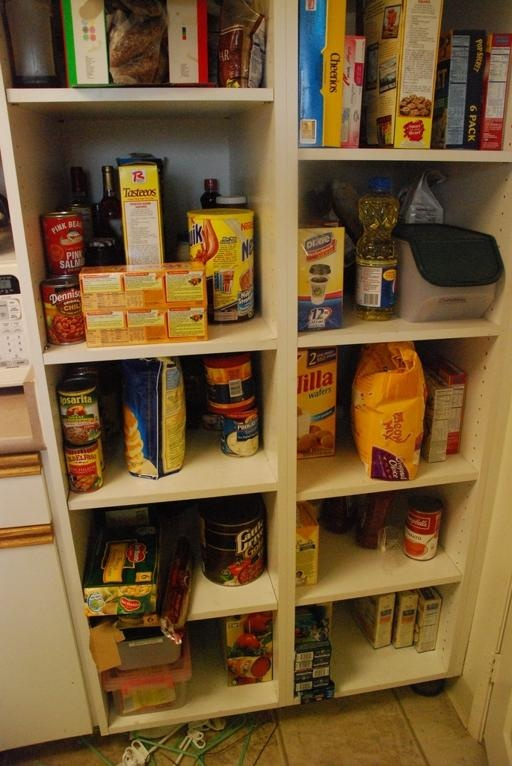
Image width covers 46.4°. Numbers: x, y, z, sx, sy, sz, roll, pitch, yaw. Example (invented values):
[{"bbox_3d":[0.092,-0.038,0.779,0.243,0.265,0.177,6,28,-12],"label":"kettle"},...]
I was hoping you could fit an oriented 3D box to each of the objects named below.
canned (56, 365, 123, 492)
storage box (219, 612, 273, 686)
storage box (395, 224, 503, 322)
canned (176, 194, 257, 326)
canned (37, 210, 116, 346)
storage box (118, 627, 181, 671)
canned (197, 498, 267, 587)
[{"bbox_3d":[-0.329,0.098,1.185,0.113,0.287,0.119,7,27,6],"label":"canned"},{"bbox_3d":[-0.016,0.612,1.377,0.101,0.196,0.195,0,16,-2],"label":"storage box"},{"bbox_3d":[0.374,-0.230,1.227,0.154,0.144,0.201,-4,28,-10],"label":"storage box"},{"bbox_3d":[-0.059,-0.220,1.165,0.118,0.220,0.049,-8,26,-11],"label":"canned"},{"bbox_3d":[-0.344,-0.196,1.083,0.088,0.213,0.154,-9,26,-12],"label":"canned"},{"bbox_3d":[-0.233,0.567,1.322,0.159,0.115,0.094,0,43,-6],"label":"storage box"},{"bbox_3d":[-0.046,0.346,1.386,0.161,0.183,0.168,-1,27,2],"label":"canned"}]
